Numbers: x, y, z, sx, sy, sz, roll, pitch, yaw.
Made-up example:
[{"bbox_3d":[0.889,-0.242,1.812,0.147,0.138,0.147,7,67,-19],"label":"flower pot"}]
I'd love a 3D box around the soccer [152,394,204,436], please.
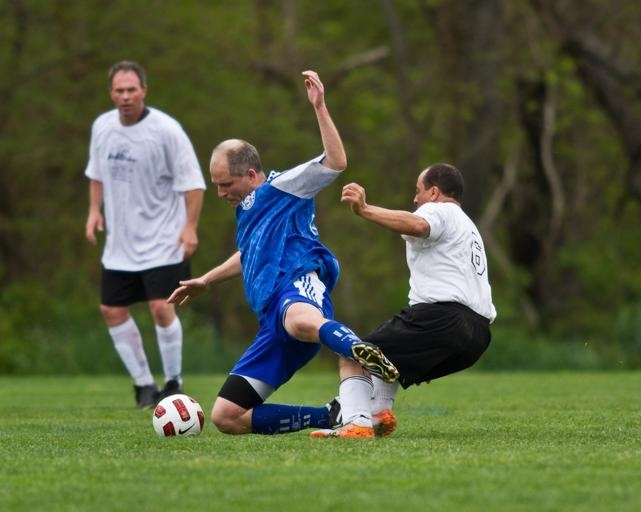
[{"bbox_3d":[-1.193,1.334,10.476,0.332,0.354,0.334,-19,-24,-12],"label":"soccer"}]

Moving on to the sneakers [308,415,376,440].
[{"bbox_3d":[0.167,1.409,10.289,0.526,0.242,0.202,-1,-8,28],"label":"sneakers"}]

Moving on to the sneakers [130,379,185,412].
[{"bbox_3d":[-1.590,1.336,12.055,0.583,0.275,0.203,-5,-12,-27],"label":"sneakers"}]

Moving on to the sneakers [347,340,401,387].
[{"bbox_3d":[0.409,0.814,10.021,0.203,0.502,0.245,-48,-14,5],"label":"sneakers"}]

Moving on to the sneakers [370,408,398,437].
[{"bbox_3d":[0.521,1.370,10.352,0.110,0.134,0.292,-8,-28,-15],"label":"sneakers"}]
